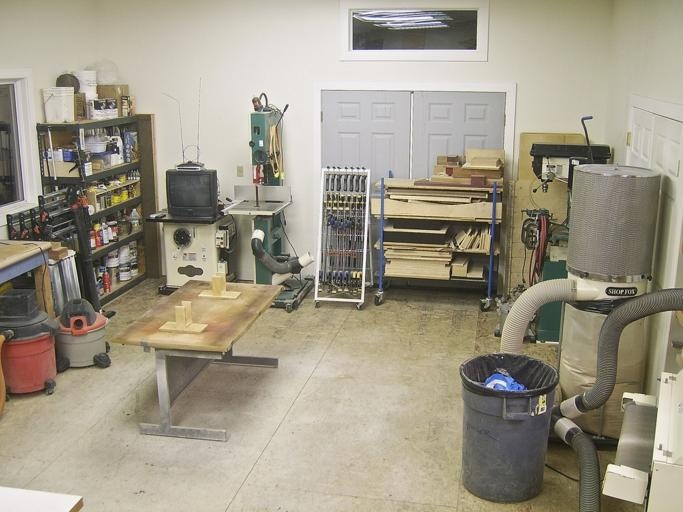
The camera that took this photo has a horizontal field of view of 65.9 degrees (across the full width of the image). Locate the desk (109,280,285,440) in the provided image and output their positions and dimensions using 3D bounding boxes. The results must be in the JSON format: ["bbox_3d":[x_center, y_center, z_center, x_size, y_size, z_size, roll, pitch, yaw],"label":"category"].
[{"bbox_3d":[-1.169,0.800,4.558,0.973,1.043,1.263,1,14,10],"label":"desk"}]

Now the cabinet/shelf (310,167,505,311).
[{"bbox_3d":[0.860,-0.245,6.608,1.686,1.355,0.713,2,9,7],"label":"cabinet/shelf"}]

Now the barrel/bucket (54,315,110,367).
[{"bbox_3d":[-2.477,0.787,5.292,0.491,0.595,0.486,0,8,0],"label":"barrel/bucket"}]

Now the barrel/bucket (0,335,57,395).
[{"bbox_3d":[-2.769,0.948,4.664,0.414,0.540,0.202,-9,16,-28],"label":"barrel/bucket"}]
